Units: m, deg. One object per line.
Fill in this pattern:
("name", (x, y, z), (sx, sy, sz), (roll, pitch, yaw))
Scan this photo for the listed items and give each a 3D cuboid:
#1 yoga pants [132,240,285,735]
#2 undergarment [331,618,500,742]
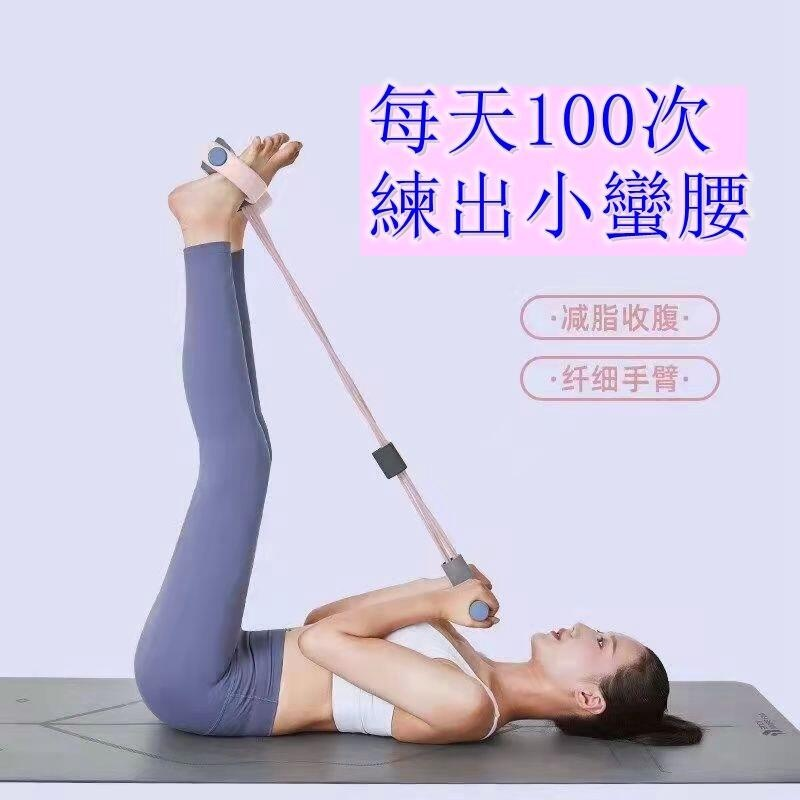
("yoga pants", (-0.427, 0.215, 2.449), (0.304, 1.200, 0.306), (-1, -3, 34))
("undergarment", (0.066, 0.696, 2.504), (0.451, 0.291, 0.321), (5, -22, 9))
